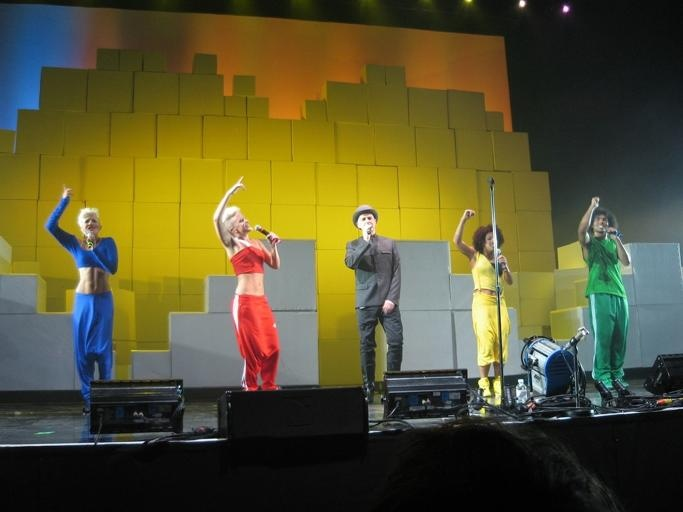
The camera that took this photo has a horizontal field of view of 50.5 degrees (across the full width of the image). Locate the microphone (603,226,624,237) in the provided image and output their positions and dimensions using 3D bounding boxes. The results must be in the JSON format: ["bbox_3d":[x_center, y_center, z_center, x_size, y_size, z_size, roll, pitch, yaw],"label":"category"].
[{"bbox_3d":[2.283,-0.201,6.201,0.091,0.051,0.163,-2,17,-14],"label":"microphone"}]

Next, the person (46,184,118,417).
[{"bbox_3d":[-2.149,0.336,6.157,0.584,1.887,0.352,-3,-10,24],"label":"person"}]

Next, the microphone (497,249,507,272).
[{"bbox_3d":[1.452,0.035,6.599,0.059,0.179,0.126,-15,-8,12],"label":"microphone"}]

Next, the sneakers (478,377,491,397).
[{"bbox_3d":[1.223,1.131,6.249,0.100,0.145,0.316,-3,-17,4],"label":"sneakers"}]

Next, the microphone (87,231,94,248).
[{"bbox_3d":[-2.141,-0.144,6.200,0.050,0.119,0.133,2,15,-18],"label":"microphone"}]

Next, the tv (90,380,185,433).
[{"bbox_3d":[-1.201,0.874,4.317,0.397,0.232,0.360,0,-4,-8],"label":"tv"}]

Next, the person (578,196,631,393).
[{"bbox_3d":[2.181,0.315,6.029,0.389,1.562,0.238,4,-10,-17],"label":"person"}]
